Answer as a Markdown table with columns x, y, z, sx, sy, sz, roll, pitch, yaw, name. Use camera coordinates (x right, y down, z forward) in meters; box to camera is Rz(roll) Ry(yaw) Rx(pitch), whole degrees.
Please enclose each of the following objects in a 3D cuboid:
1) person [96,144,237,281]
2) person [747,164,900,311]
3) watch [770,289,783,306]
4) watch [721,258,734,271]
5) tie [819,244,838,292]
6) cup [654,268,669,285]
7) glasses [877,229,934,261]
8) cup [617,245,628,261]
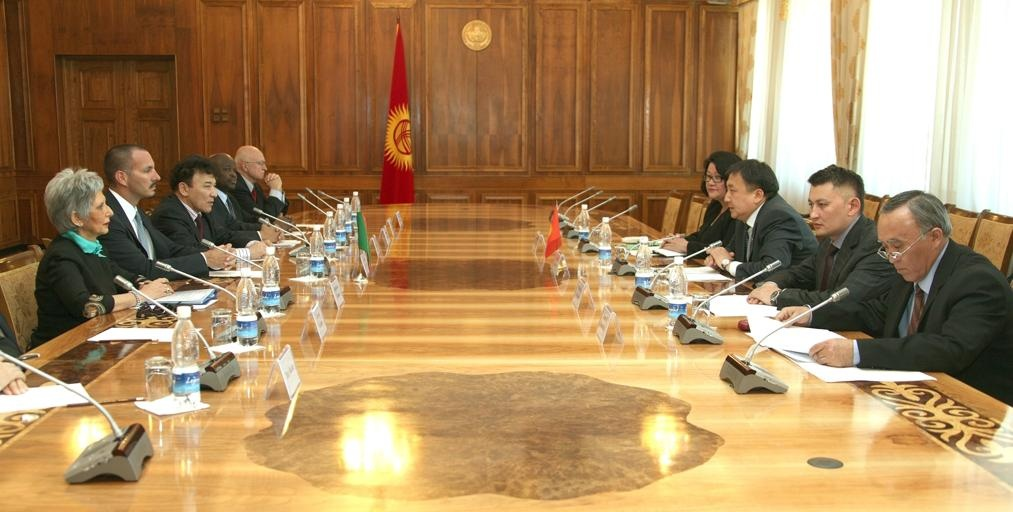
| x | y | z | sx | sy | sz | roll | pitch | yaw | name |
| --- | --- | --- | --- | --- | --- | --- | --- | --- | --- |
| -2.599 | -0.232 | 4.901 | 1.154 | 1.045 | 0.816 | 2 | 15 | -29 | person |
| 2.129 | -0.088 | 4.311 | 1.221 | 0.891 | 0.797 | -3 | 8 | -17 | person |
| 1.663 | 0.255 | 4.020 | 0.066 | 0.083 | 0.099 | -7 | 11 | 27 | watch |
| 1.610 | 0.060 | 4.714 | 0.095 | 0.079 | 0.059 | -22 | 46 | -16 | watch |
| 2.137 | 0.080 | 4.302 | 0.112 | 0.288 | 0.234 | 5 | -15 | 23 | tie |
| 1.021 | 0.138 | 4.279 | 0.120 | 0.094 | 0.109 | 0 | 2 | 0 | cup |
| 2.089 | -0.066 | 3.424 | 0.170 | 0.048 | 0.157 | -30 | -9 | -5 | glasses |
| 0.874 | -0.024 | 4.888 | 0.110 | 0.112 | 0.096 | 3 | -1 | -2 | cup |
